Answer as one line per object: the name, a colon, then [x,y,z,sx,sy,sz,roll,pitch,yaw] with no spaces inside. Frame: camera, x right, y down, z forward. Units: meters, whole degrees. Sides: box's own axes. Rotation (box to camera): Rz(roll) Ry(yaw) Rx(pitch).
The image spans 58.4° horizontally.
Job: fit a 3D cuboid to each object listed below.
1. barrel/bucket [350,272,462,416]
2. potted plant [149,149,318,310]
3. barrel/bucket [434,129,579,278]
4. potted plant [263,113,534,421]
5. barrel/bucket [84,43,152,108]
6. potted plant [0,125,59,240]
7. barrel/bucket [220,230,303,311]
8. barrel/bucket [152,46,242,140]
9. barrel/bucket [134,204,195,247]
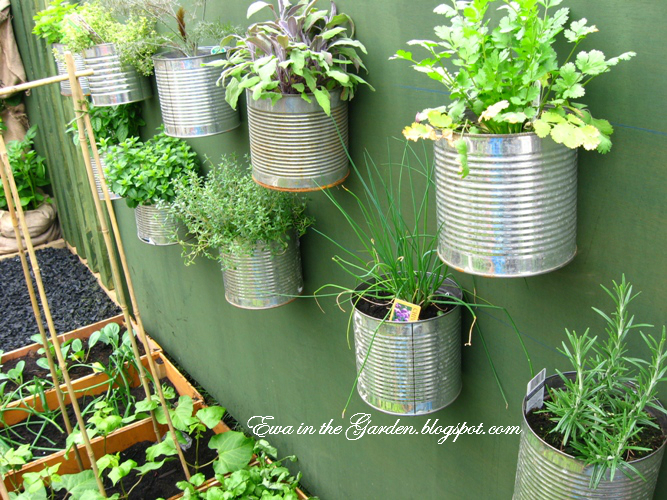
barrel/bucket: [0.178,0.205,1.533,0.254,0.309,0.291,-2,30,3]
potted plant: [-0.322,-0.082,1.957,0.440,0.440,0.307,-12,30,-19]
barrel/bucket: [0.313,-0.097,1.224,0.245,0.301,0.274,-7,25,3]
potted plant: [0.138,-0.062,1.652,0.635,0.368,0.633,-28,47,-29]
barrel/bucket: [-0.793,-0.689,2.308,0.212,0.251,0.218,-4,29,2]
potted plant: [-2.527,-0.556,5.014,0.269,0.884,0.553,-17,24,-25]
barrel/bucket: [-0.219,0.060,1.948,0.209,0.261,0.237,2,28,5]
barrel/bucket: [-0.435,-0.516,2.014,0.241,0.296,0.266,21,37,32]
barrel/bucket: [-0.704,-0.108,2.420,0.178,0.154,0.205,6,14,8]
